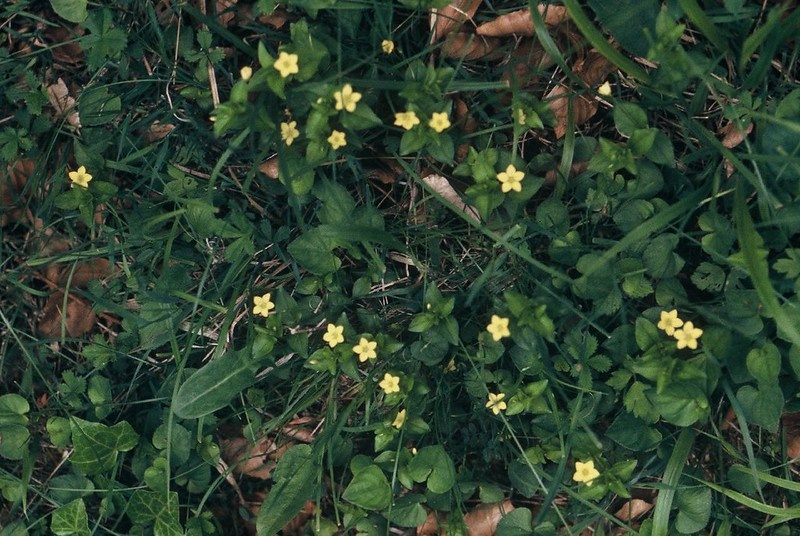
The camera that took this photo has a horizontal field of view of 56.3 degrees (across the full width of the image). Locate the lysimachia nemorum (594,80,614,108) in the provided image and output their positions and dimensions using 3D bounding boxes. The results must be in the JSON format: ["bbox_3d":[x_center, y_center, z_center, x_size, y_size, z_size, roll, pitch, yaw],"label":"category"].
[{"bbox_3d":[1.268,-1.081,4.633,0.105,0.138,0.141,-11,103,19],"label":"lysimachia nemorum"}]

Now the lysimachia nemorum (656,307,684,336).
[{"bbox_3d":[1.618,0.321,4.486,0.147,0.038,0.159,21,96,12],"label":"lysimachia nemorum"}]

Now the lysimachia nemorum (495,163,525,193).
[{"bbox_3d":[0.684,-0.534,4.570,0.162,0.154,0.153,-23,76,-3],"label":"lysimachia nemorum"}]

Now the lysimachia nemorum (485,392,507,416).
[{"bbox_3d":[0.599,0.848,4.701,0.125,0.219,0.132,-7,76,1],"label":"lysimachia nemorum"}]

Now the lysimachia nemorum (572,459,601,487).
[{"bbox_3d":[1.164,1.278,4.697,0.156,0.183,0.159,6,77,4],"label":"lysimachia nemorum"}]
